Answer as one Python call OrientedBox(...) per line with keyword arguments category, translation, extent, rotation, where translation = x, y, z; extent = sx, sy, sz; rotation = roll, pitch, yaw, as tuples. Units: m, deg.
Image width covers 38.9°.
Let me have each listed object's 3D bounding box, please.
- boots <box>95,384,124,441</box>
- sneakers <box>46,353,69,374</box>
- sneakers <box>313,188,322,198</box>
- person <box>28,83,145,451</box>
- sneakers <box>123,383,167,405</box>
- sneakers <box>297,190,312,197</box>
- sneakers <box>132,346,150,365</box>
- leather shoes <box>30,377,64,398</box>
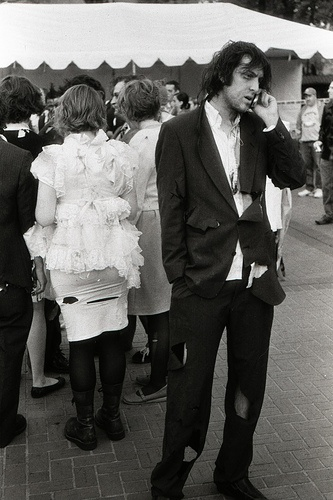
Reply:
OrientedBox(category="boots", translation=(-0.337, 0.907, 2.788), extent=(0.153, 0.316, 0.334), rotation=(-3, 6, -22))
OrientedBox(category="sneakers", translation=(-0.816, 0.857, 3.568), extent=(0.098, 0.114, 0.265), rotation=(2, -14, -3))
OrientedBox(category="sneakers", translation=(3.694, -1.352, 11.524), extent=(0.217, 0.149, 0.372), rotation=(1, 42, 16))
OrientedBox(category="person", translation=(-0.389, 0.139, 2.521), extent=(0.401, 1.922, 0.597), rotation=(6, 20, 16))
OrientedBox(category="sneakers", translation=(-0.141, 0.970, 3.199), extent=(0.375, 0.157, 0.148), rotation=(1, 2, -4))
OrientedBox(category="sneakers", translation=(3.434, -1.424, 11.824), extent=(0.414, 0.177, 0.175), rotation=(-1, 5, -27))
OrientedBox(category="sneakers", translation=(-0.199, 0.838, 3.763), extent=(0.082, 0.078, 0.183), rotation=(11, 7, 34))
OrientedBox(category="leather shoes", translation=(-0.809, 0.944, 3.278), extent=(0.083, 0.096, 0.250), rotation=(5, 12, 31))
